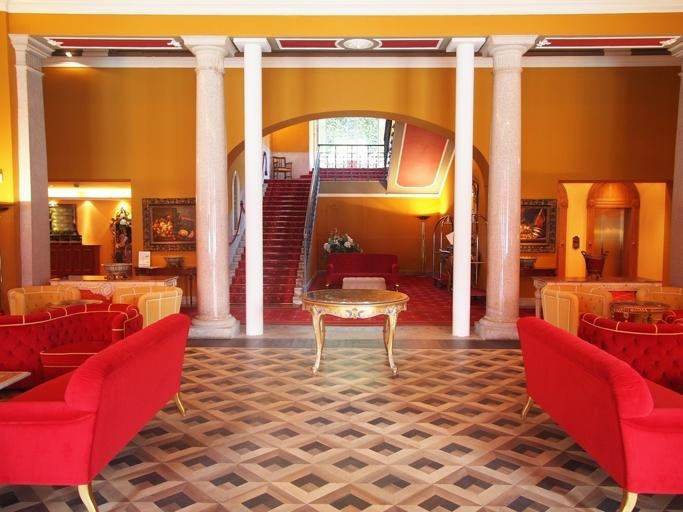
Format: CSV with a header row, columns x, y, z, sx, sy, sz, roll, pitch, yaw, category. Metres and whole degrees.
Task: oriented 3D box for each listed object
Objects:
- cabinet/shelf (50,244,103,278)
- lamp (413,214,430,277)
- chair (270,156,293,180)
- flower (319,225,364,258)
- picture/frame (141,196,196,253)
x,y,z,sx,sy,sz,roll,pitch,yaw,category
-7.823,0.165,14.927,1.152,0.885,0.566,0,1,-12,cabinet/shelf
2.801,-0.432,17.542,0.433,1.999,0.878,1,7,5,lamp
-2.284,-3.356,19.269,0.874,0.888,0.652,-2,7,-17,chair
-0.048,-0.443,15.944,1.139,0.612,1.030,1,6,-5,flower
-3.840,-0.757,11.305,1.513,1.066,0.105,0,4,-2,picture/frame
